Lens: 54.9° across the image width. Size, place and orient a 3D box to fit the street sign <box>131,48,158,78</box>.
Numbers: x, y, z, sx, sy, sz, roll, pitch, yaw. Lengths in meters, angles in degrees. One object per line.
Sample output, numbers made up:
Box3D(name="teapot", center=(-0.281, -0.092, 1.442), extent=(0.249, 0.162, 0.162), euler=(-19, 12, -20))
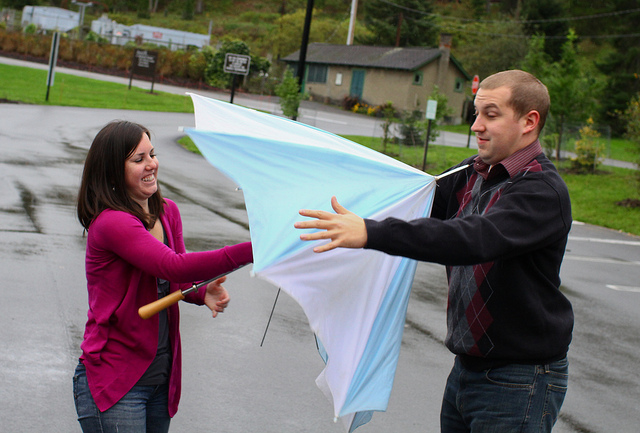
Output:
Box3D(name="street sign", center=(-8.260, -7.266, 28.905), extent=(1.012, 1.227, 0.170), euler=(20, 37, 8))

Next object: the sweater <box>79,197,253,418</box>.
Box3D(name="sweater", center=(-1.206, 0.761, 4.787), extent=(1.218, 1.818, 1.145), euler=(1, 12, -26))

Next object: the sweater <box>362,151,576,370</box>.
Box3D(name="sweater", center=(1.000, 0.272, 4.914), extent=(1.530, 1.805, 1.401), euler=(-4, 5, -23))

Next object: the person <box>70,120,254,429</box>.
Box3D(name="person", center=(-1.299, 0.472, 4.538), extent=(0.996, 2.214, 0.751), euler=(4, 9, -20))
